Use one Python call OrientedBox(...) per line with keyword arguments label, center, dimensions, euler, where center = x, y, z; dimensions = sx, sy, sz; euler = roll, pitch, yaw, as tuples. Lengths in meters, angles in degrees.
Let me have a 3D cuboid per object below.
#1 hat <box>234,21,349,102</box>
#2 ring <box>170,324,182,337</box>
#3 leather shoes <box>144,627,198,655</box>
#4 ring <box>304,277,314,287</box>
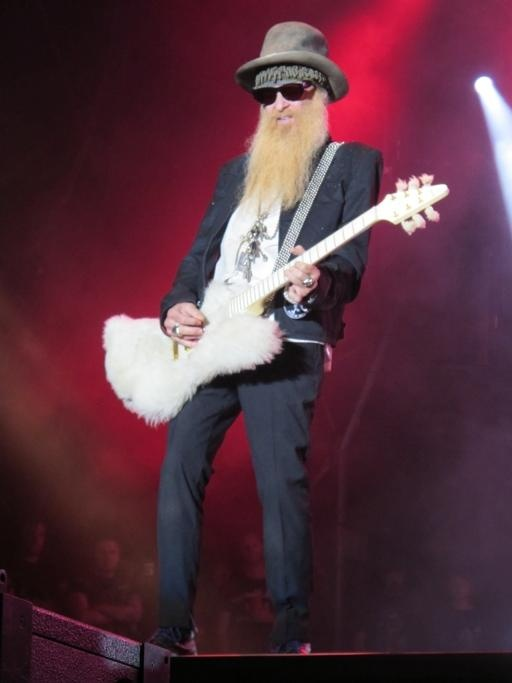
OrientedBox(label="hat", center=(0.144, -0.916, 2.708), dimensions=(0.304, 0.167, 0.342), euler=(0, -17, 19))
OrientedBox(label="ring", center=(-0.245, -0.028, 2.354), dimensions=(0.011, 0.036, 0.029), euler=(19, -15, -36))
OrientedBox(label="leather shoes", center=(-0.229, 0.826, 2.135), dimensions=(0.134, 0.069, 0.092), euler=(9, -32, -9))
OrientedBox(label="ring", center=(0.137, -0.156, 2.076), dimensions=(0.030, 0.023, 0.020), euler=(9, -33, -9))
